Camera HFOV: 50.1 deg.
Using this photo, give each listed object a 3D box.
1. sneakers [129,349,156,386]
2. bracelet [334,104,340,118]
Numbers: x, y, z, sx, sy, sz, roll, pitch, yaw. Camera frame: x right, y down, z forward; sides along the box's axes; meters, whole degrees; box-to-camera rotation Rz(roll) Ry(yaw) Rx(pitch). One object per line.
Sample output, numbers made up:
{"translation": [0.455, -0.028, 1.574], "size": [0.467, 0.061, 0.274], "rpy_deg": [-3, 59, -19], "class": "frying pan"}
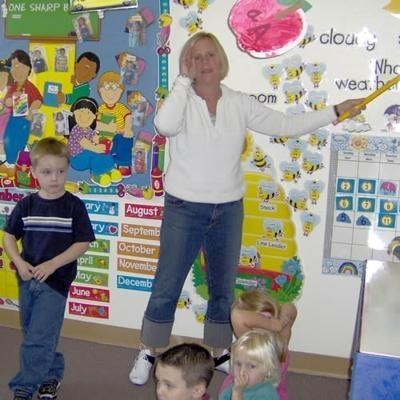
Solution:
{"translation": [-0.230, 0.695, 1.787], "size": [0.062, 0.076, 0.191], "rpy_deg": [24, 18, -4], "class": "sneakers"}
{"translation": [0.516, -0.341, 1.623], "size": [0.009, 0.035, 0.035], "rpy_deg": [-9, -19, 6], "class": "bracelet"}
